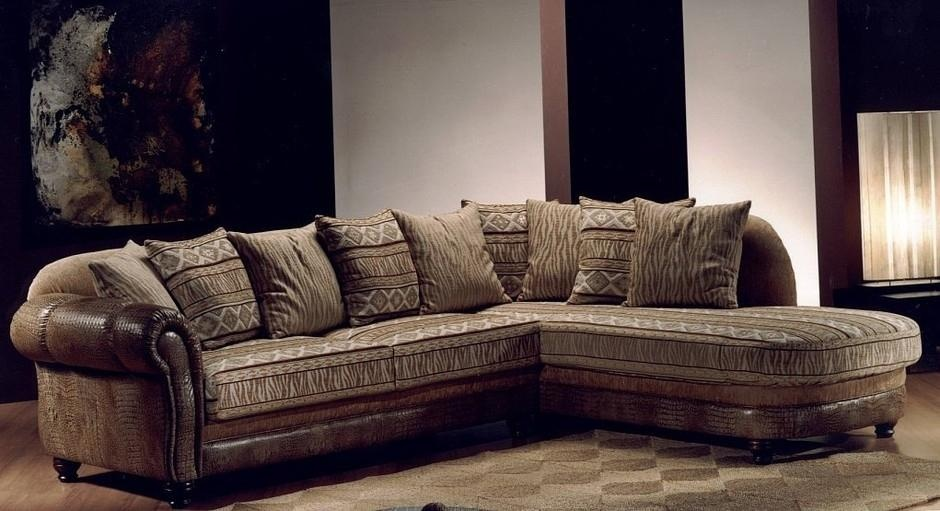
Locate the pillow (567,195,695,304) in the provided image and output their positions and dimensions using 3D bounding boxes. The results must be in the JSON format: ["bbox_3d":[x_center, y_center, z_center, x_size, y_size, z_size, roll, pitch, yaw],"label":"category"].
[{"bbox_3d":[1.203,-0.007,5.465,0.898,0.806,0.358,1,-16,30],"label":"pillow"}]

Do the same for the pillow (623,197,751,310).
[{"bbox_3d":[1.577,0.021,5.334,0.924,0.720,0.435,3,1,17],"label":"pillow"}]

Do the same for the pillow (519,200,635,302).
[{"bbox_3d":[0.833,-0.003,5.648,0.919,0.860,0.373,0,-13,11],"label":"pillow"}]

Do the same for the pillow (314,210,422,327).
[{"bbox_3d":[-0.738,0.132,5.298,0.791,0.650,0.394,-13,13,-36],"label":"pillow"}]

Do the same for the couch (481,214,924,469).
[{"bbox_3d":[1.713,0.569,4.998,2.111,1.044,1.342,-3,-2,44],"label":"couch"}]

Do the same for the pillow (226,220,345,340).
[{"bbox_3d":[-1.259,0.203,5.075,0.927,0.684,0.501,-3,0,-43],"label":"pillow"}]
